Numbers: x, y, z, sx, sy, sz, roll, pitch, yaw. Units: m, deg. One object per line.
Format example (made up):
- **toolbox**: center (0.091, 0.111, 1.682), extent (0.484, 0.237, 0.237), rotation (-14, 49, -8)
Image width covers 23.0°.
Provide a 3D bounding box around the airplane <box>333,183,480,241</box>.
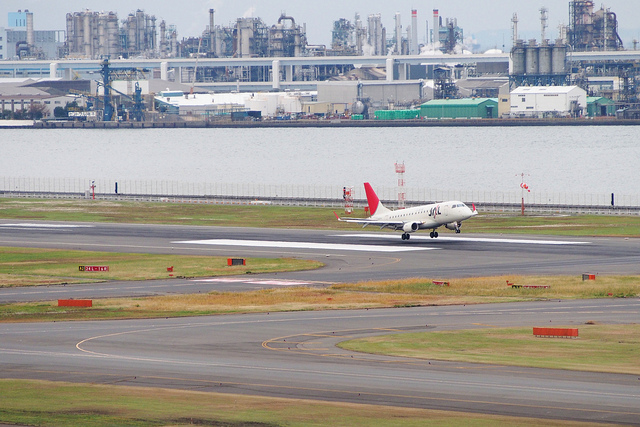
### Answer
- **airplane**: center (20.888, 0.784, 331.866), extent (24.200, 10.157, 5.785), rotation (4, 12, 28)
